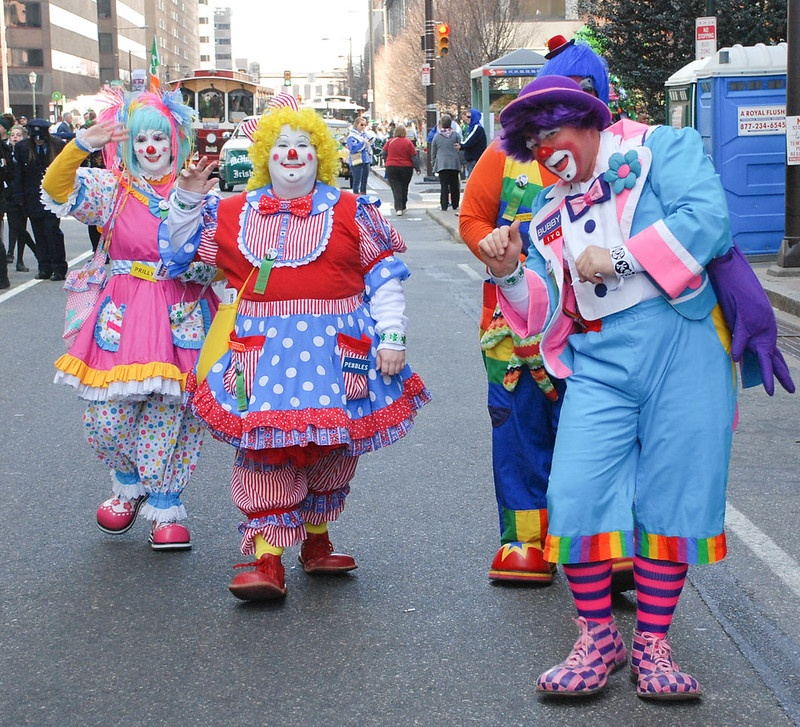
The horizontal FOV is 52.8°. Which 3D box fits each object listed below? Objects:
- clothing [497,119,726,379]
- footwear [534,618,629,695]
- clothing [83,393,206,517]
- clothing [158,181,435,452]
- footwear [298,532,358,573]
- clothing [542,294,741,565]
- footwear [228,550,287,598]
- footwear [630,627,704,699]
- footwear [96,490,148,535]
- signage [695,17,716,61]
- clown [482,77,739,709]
[{"bbox_3d":[0.625,-0.331,2.376,0.431,0.655,0.654,-8,-16,-37],"label":"clothing"},{"bbox_3d":[0.553,0.853,2.455,0.133,0.193,0.348,-4,2,35],"label":"footwear"},{"bbox_3d":[-1.233,0.443,3.928,0.563,0.945,0.447,-2,6,-27],"label":"clothing"},{"bbox_3d":[-0.377,-0.217,3.531,1.134,1.545,0.931,-1,-7,-2],"label":"clothing"},{"bbox_3d":[-0.312,0.824,3.536,0.122,0.138,0.260,3,-5,-36],"label":"footwear"},{"bbox_3d":[0.675,0.188,2.299,0.476,0.739,0.302,1,6,21],"label":"clothing"},{"bbox_3d":[-0.560,0.857,3.223,0.202,0.202,0.222,-1,6,-1],"label":"footwear"},{"bbox_3d":[0.755,0.860,2.326,0.105,0.127,0.272,0,-6,-7],"label":"footwear"},{"bbox_3d":[-1.398,0.734,4.083,0.121,0.149,0.307,22,9,-1],"label":"footwear"},{"bbox_3d":[5.303,-5.675,14.053,0.299,0.860,0.743,1,6,18],"label":"signage"},{"bbox_3d":[0.627,0.062,2.398,0.596,1.871,0.569,-2,-2,24],"label":"clown"}]
